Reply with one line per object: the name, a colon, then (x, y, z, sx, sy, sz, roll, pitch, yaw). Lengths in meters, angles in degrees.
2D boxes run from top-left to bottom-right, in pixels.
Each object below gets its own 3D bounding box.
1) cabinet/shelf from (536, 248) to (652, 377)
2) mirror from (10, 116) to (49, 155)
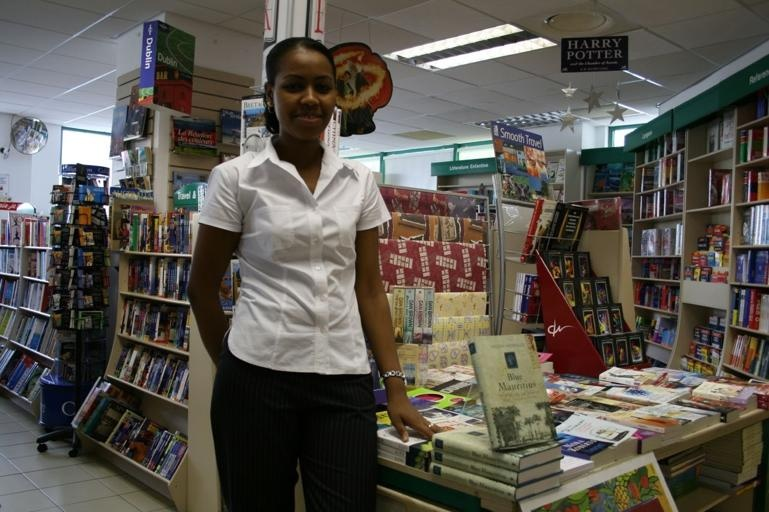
cabinet/shelf: (1.379, 0.450, 3.687, 0.741, 0.998, 0.727, -10, -8, 42)
mirror: (-6.868, -2.278, 9.755, 0.867, 0.829, 0.224, 2, 1, -17)
